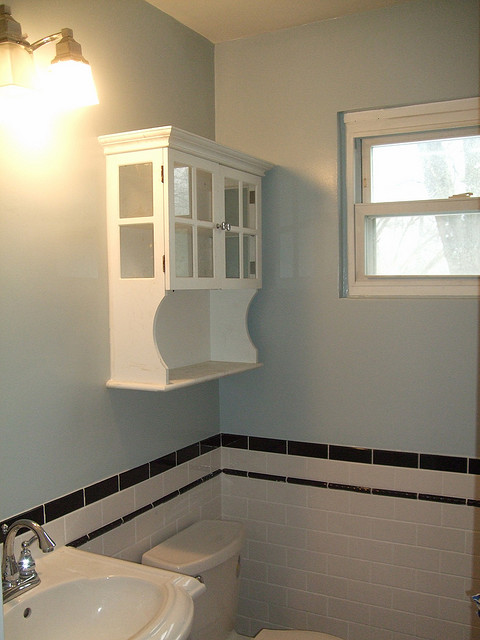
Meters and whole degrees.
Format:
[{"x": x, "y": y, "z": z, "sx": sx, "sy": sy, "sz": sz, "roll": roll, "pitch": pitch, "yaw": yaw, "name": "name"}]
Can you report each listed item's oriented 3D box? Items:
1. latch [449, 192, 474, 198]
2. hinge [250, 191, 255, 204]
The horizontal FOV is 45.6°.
[{"x": 0.741, "y": -0.418, "z": 1.906, "sx": 0.072, "sy": 0.019, "sz": 0.007, "roll": 6, "pitch": -9, "yaw": 30, "name": "latch"}, {"x": 0.043, "y": -0.446, "z": 2.064, "sx": 0.005, "sy": 0.054, "sz": 0.048, "roll": -1, "pitch": 3, "yaw": 21, "name": "hinge"}]
